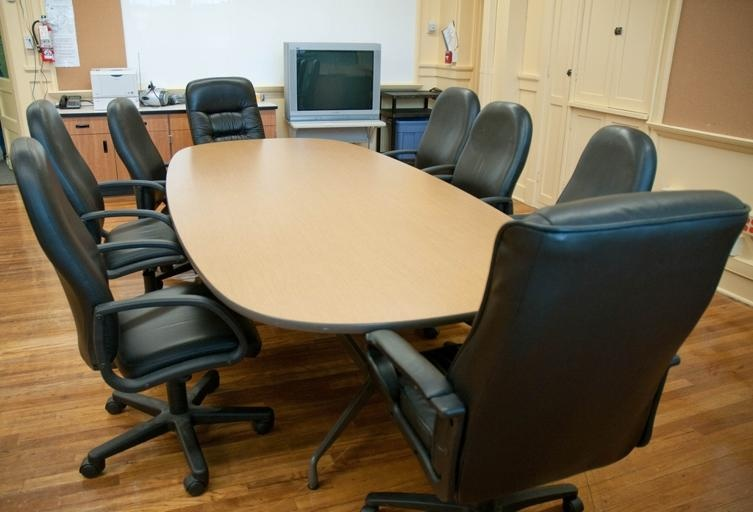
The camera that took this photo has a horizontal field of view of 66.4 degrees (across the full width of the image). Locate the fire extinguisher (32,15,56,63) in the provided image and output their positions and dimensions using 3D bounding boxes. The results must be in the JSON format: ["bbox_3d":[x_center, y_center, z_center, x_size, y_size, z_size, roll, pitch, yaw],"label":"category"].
[{"bbox_3d":[-3.423,-2.202,5.879,0.203,0.449,0.220,-8,30,-18],"label":"fire extinguisher"}]
